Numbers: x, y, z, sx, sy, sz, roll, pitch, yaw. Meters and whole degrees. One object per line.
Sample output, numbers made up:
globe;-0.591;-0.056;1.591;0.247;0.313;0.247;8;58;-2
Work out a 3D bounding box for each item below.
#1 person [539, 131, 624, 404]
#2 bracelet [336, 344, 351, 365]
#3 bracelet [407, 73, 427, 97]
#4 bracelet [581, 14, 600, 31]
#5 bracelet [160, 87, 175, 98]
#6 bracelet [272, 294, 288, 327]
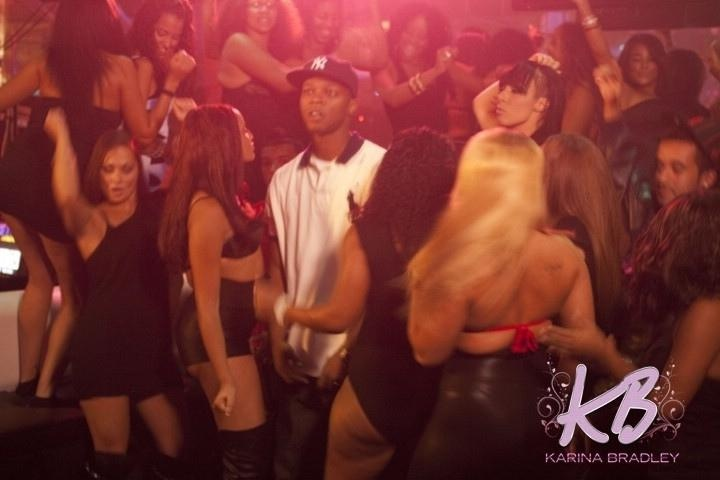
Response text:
person;1.188;-0.056;3.211;0.389;1.162;0.359;15;48;40
bracelet;-0.076;0.538;3.096;0.056;0.083;0.021;30;13;34
bracelet;0.272;-0.733;3.109;0.079;0.097;0.093;15;-25;18
bracelet;1.074;-1.014;3.018;0.064;0.052;0.067;2;-5;2
bracelet;-0.941;-0.720;3.171;0.044;0.036;0.046;10;7;39
bracelet;-0.383;0.335;3.123;0.085;0.139;0.032;0;0;35
